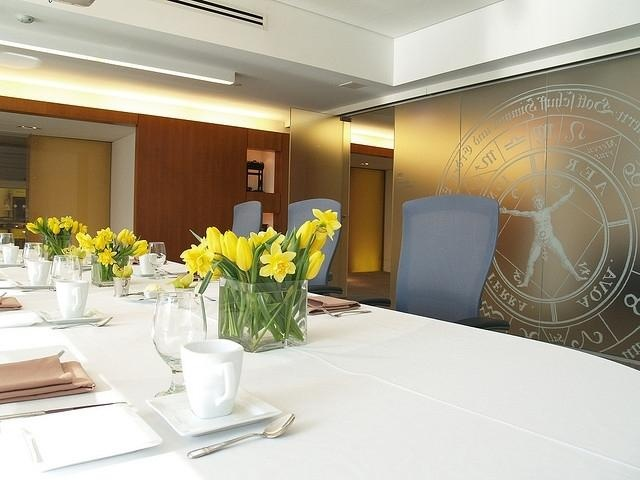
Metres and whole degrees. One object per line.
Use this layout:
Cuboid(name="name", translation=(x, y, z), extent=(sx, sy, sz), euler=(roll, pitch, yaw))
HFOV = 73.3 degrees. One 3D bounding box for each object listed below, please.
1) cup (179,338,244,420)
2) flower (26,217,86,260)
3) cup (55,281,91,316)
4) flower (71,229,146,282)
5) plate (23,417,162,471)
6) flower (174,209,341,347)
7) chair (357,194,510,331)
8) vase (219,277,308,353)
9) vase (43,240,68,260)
Cuboid(name="cup", translation=(-0.209, 0.245, 0.826), extent=(0.104, 0.120, 0.139), euler=(-1, 11, -23))
Cuboid(name="flower", translation=(-1.805, 0.023, 2.930), extent=(0.250, 0.306, 0.257), euler=(-1, -2, 16))
Cuboid(name="cup", translation=(-0.824, 0.195, 1.464), extent=(0.097, 0.124, 0.123), euler=(-1, 9, -24))
Cuboid(name="flower", translation=(-1.043, 0.066, 2.166), extent=(0.313, 0.334, 0.314), euler=(1, 7, -42))
Cuboid(name="plate", translation=(-0.387, 0.339, 0.721), extent=(0.122, 0.019, 0.093), euler=(-1, 10, -24))
Cuboid(name="flower", translation=(-0.200, 0.112, 1.411), extent=(0.367, 0.433, 0.433), euler=(0, -3, -23))
Cuboid(name="chair", translation=(0.620, 0.098, 2.586), extent=(0.634, 1.085, 0.697), euler=(1, -2, 37))
Cuboid(name="vase", translation=(-0.188, 0.191, 1.326), extent=(0.211, 0.209, 0.216), euler=(-1, 5, -31))
Cuboid(name="vase", translation=(-1.564, 0.060, 2.533), extent=(0.136, 0.147, 0.121), euler=(-1, -1, 40))
